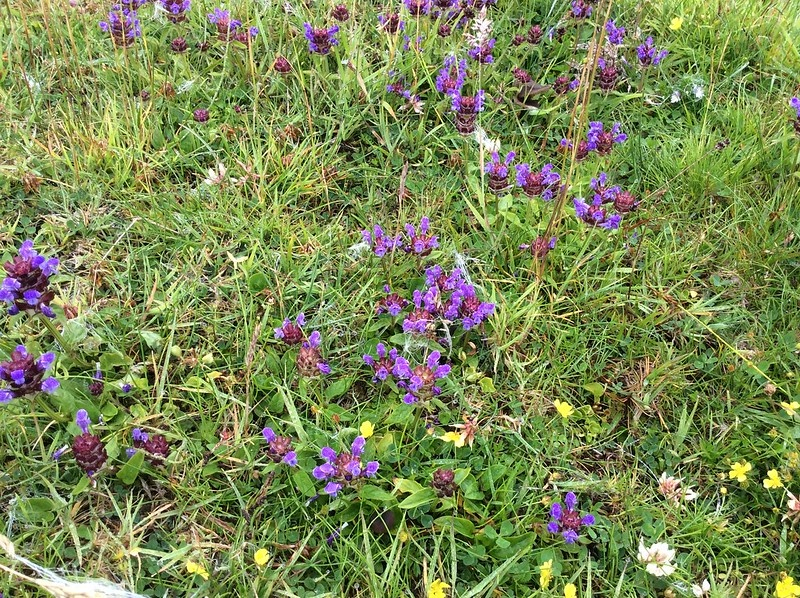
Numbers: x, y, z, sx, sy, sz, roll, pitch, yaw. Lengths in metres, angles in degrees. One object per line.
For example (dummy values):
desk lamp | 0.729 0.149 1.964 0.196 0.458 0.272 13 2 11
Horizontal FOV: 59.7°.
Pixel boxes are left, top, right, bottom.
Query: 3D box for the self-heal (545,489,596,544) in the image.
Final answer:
self-heal | 0.816 1.080 3.380 0.238 0.161 0.269 21 74 3

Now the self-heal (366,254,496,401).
self-heal | 0.118 0.139 3.767 0.595 0.370 0.839 31 56 19

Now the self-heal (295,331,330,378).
self-heal | -0.461 0.293 3.643 0.098 0.108 0.189 -25 29 17

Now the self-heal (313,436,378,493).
self-heal | -0.266 0.794 3.289 0.263 0.148 0.304 -2 64 -13

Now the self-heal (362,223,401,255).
self-heal | -0.107 -0.322 3.865 0.172 0.119 0.196 7 50 3

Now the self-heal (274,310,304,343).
self-heal | -0.579 0.168 3.716 0.136 0.085 0.160 -6 39 -2

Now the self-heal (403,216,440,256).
self-heal | 0.108 -0.355 3.952 0.185 0.182 0.188 -15 70 36
